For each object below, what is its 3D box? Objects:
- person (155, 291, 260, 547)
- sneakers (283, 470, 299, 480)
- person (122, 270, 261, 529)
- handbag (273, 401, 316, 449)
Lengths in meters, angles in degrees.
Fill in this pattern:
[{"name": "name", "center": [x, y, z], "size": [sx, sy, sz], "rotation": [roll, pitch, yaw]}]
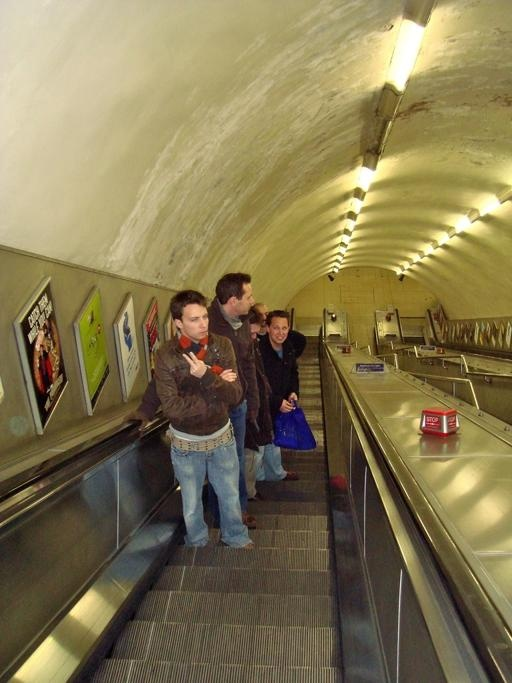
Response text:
[{"name": "person", "center": [-0.316, 0.661, 2.705], "size": [0.574, 2.046, 0.460], "rotation": [-12, 21, -16]}, {"name": "sneakers", "center": [0.431, 1.606, 4.755], "size": [0.200, 0.116, 0.346], "rotation": [0, -9, 4]}, {"name": "person", "center": [-0.344, 0.612, 2.637], "size": [0.570, 1.833, 0.525], "rotation": [-3, 10, -10]}, {"name": "handbag", "center": [0.390, 0.897, 3.903], "size": [0.405, 0.507, 0.238], "rotation": [-3, 21, 8]}]
